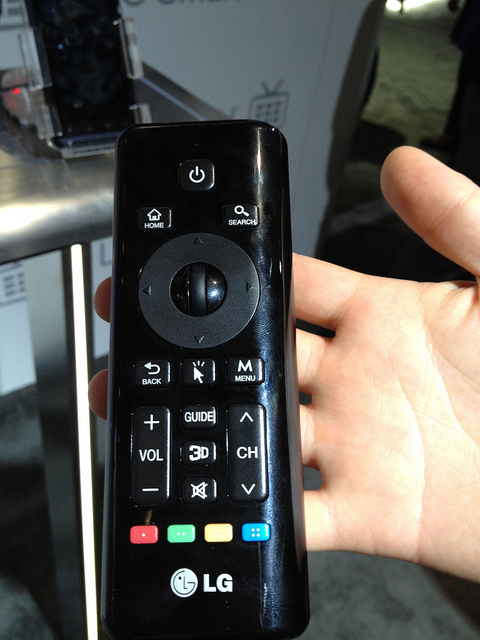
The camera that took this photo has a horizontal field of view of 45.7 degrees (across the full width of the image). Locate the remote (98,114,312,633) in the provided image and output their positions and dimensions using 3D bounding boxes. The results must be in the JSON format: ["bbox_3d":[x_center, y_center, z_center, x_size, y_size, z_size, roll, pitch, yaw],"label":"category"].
[{"bbox_3d":[-0.020,0.039,0.448,0.142,0.113,0.377,-2,84,-1],"label":"remote"}]
